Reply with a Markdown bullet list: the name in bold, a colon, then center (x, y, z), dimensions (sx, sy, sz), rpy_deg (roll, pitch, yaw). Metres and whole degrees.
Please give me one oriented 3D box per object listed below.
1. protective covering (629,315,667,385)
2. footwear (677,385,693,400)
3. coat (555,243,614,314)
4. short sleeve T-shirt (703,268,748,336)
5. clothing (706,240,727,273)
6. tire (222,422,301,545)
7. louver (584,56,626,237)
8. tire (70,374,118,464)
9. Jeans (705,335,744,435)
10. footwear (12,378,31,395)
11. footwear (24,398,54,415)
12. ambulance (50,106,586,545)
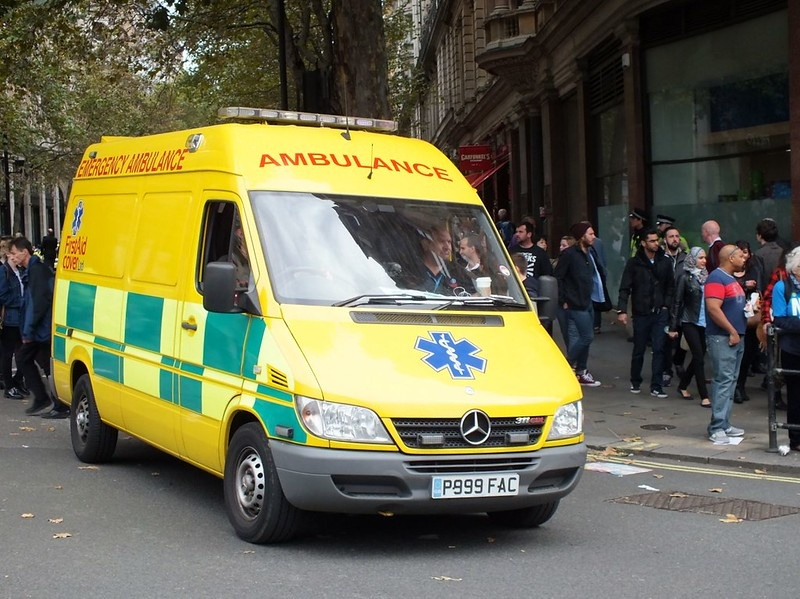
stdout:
- **protective covering**: center (3.651, 0.745, 12.197), dimensions (0.518, 1.197, 0.377), rpy_deg (1, 3, 19)
- **footwear**: center (4.140, 1.361, 12.041), dimensions (0.104, 0.123, 0.305), rpy_deg (5, 11, -19)
- **coat**: center (2.833, -0.344, 12.822), dimensions (1.055, 0.970, 0.558), rpy_deg (-4, 4, -25)
- **short sleeve T-shirt**: center (3.621, 0.016, 9.220), dimensions (0.409, 0.715, 0.725), rpy_deg (4, 6, 40)
- **clothing**: center (4.118, -0.543, 10.791), dimensions (0.286, 0.487, 0.522), rpy_deg (2, 3, 20)
- **tire**: center (-0.968, 1.270, 5.787), dimensions (0.233, 0.855, 0.692), rpy_deg (-2, 3, -43)
- **louver**: center (5.344, -3.447, 20.728), dimensions (0.162, 4.584, 3.983), rpy_deg (0, 10, 23)
- **tire**: center (-3.168, 1.228, 8.571), dimensions (0.326, 0.916, 0.904), rpy_deg (3, -3, -37)
- **Jeans**: center (3.577, 0.949, 9.146), dimensions (0.363, 1.139, 0.427), rpy_deg (1, 2, 22)
- **footwear**: center (-5.857, 1.350, 12.844), dimensions (0.220, 0.266, 0.660), rpy_deg (0, 6, -32)
- **footwear**: center (-4.887, 1.450, 11.206), dimensions (0.394, 0.177, 0.142), rpy_deg (-18, 11, -30)
- **ambulance**: center (-1.046, -0.004, 7.468), dimensions (2.527, 2.728, 5.320), rpy_deg (0, 1, -31)
